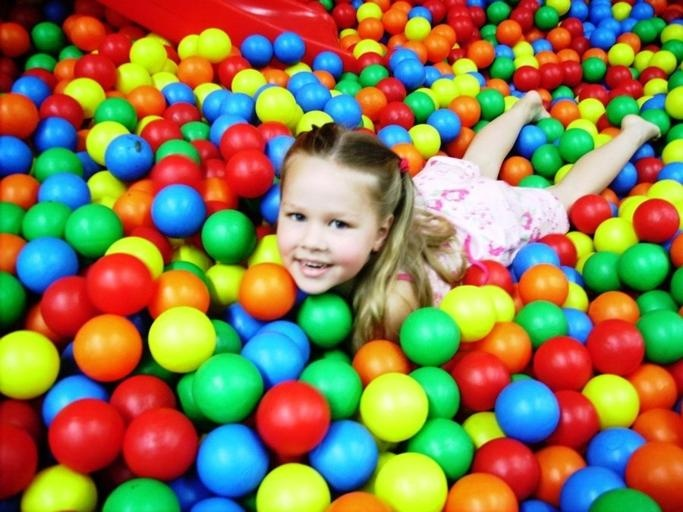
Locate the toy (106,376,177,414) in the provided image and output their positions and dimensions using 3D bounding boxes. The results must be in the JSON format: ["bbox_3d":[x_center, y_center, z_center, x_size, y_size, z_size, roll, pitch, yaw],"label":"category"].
[{"bbox_3d":[-0.620,0.427,2.144,0.148,0.131,0.133,40,102,27],"label":"toy"}]

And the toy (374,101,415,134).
[{"bbox_3d":[0.288,-0.715,3.533,0.137,0.149,0.174,-1,53,-2],"label":"toy"}]

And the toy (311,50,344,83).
[{"bbox_3d":[-0.087,-1.046,3.837,0.138,0.170,0.154,3,74,0],"label":"toy"}]

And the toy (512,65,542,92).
[{"bbox_3d":[1.117,-1.053,4.128,0.158,0.165,0.170,4,95,10],"label":"toy"}]

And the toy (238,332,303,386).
[{"bbox_3d":[-0.221,0.347,2.324,0.161,0.168,0.192,14,29,-39],"label":"toy"}]

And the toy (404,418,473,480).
[{"bbox_3d":[0.321,0.589,2.186,0.162,0.204,0.169,28,44,26],"label":"toy"}]

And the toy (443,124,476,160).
[{"bbox_3d":[0.628,-0.596,3.666,0.142,0.175,0.157,0,87,1],"label":"toy"}]

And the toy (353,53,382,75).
[{"bbox_3d":[0.152,-1.104,3.947,0.119,0.145,0.133,3,94,-5],"label":"toy"}]

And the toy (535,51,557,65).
[{"bbox_3d":[1.302,-1.242,4.421,0.110,0.125,0.136,1,14,-3],"label":"toy"}]

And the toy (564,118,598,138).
[{"bbox_3d":[1.310,-0.712,3.807,0.142,0.151,0.174,2,18,4],"label":"toy"}]

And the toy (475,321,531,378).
[{"bbox_3d":[0.569,0.339,2.493,0.156,0.166,0.195,-4,55,-14],"label":"toy"}]

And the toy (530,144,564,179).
[{"bbox_3d":[1.062,-0.481,3.596,0.149,0.187,0.159,-10,51,11],"label":"toy"}]

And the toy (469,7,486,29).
[{"bbox_3d":[0.933,-1.598,4.668,0.112,0.142,0.126,1,60,18],"label":"toy"}]

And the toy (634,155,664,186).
[{"bbox_3d":[1.540,-0.424,3.477,0.115,0.143,0.130,-8,75,12],"label":"toy"}]

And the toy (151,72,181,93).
[{"bbox_3d":[-0.880,-0.846,3.395,0.108,0.099,0.094,27,42,26],"label":"toy"}]

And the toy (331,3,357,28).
[{"bbox_3d":[0.025,-1.541,4.441,0.146,0.182,0.161,3,61,6],"label":"toy"}]

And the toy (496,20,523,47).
[{"bbox_3d":[1.087,-1.441,4.501,0.144,0.178,0.168,-5,73,8],"label":"toy"}]

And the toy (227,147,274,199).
[{"bbox_3d":[-0.361,-0.314,2.672,0.171,0.176,0.200,2,54,-19],"label":"toy"}]

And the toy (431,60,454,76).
[{"bbox_3d":[0.626,-1.139,4.239,0.113,0.139,0.128,3,98,-3],"label":"toy"}]

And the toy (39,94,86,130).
[{"bbox_3d":[-1.212,-0.633,3.021,0.137,0.172,0.150,5,58,-2],"label":"toy"}]

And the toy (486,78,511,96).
[{"bbox_3d":[0.938,-1.010,4.126,0.109,0.135,0.123,-2,74,3],"label":"toy"}]

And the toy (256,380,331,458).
[{"bbox_3d":[-0.159,0.468,2.127,0.202,0.215,0.251,5,31,-6],"label":"toy"}]

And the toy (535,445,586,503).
[{"bbox_3d":[0.668,0.658,2.127,0.139,0.147,0.182,-1,81,-8],"label":"toy"}]

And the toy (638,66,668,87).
[{"bbox_3d":[1.887,-1.093,4.180,0.126,0.154,0.138,-7,100,6],"label":"toy"}]

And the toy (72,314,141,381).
[{"bbox_3d":[-0.729,0.292,2.206,0.188,0.204,0.233,5,42,-13],"label":"toy"}]

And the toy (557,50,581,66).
[{"bbox_3d":[1.469,-1.290,4.476,0.121,0.135,0.148,1,22,-3],"label":"toy"}]

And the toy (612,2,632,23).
[{"bbox_3d":[1.926,-1.674,4.785,0.125,0.140,0.157,-8,31,6],"label":"toy"}]

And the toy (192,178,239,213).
[{"bbox_3d":[-0.496,-0.246,2.736,0.129,0.135,0.165,-25,82,6],"label":"toy"}]

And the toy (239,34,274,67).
[{"bbox_3d":[-0.458,-1.074,3.683,0.150,0.167,0.181,6,14,-11],"label":"toy"}]

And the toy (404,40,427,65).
[{"bbox_3d":[0.450,-1.221,4.161,0.121,0.158,0.131,1,29,10],"label":"toy"}]

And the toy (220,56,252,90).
[{"bbox_3d":[-0.572,-0.960,3.645,0.150,0.183,0.157,11,63,-7],"label":"toy"}]

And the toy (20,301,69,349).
[{"bbox_3d":[-1.031,0.230,2.334,0.120,0.128,0.162,-4,88,5],"label":"toy"}]

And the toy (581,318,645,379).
[{"bbox_3d":[0.933,0.306,2.442,0.174,0.225,0.185,3,28,6],"label":"toy"}]

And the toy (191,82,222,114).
[{"bbox_3d":[-0.700,-0.779,3.500,0.137,0.149,0.168,-1,40,-24],"label":"toy"}]

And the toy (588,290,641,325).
[{"bbox_3d":[1.032,0.197,2.603,0.127,0.136,0.163,11,68,13],"label":"toy"}]

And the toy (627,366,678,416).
[{"bbox_3d":[1.086,0.454,2.412,0.136,0.140,0.172,0,65,-31],"label":"toy"}]

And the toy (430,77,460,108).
[{"bbox_3d":[0.579,-0.910,3.930,0.142,0.151,0.183,-8,71,-7],"label":"toy"}]

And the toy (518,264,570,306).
[{"bbox_3d":[0.778,0.109,2.628,0.150,0.187,0.165,5,61,21],"label":"toy"}]

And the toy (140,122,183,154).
[{"bbox_3d":[-0.773,-0.510,2.981,0.132,0.163,0.149,8,95,-2],"label":"toy"}]

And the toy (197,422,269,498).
[{"bbox_3d":[-0.353,0.618,2.125,0.193,0.197,0.243,0,55,-14],"label":"toy"}]

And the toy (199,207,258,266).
[{"bbox_3d":[-0.416,-0.071,2.548,0.179,0.229,0.191,-5,33,-2],"label":"toy"}]

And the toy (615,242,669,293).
[{"bbox_3d":[1.201,0.029,2.805,0.176,0.191,0.217,8,32,16],"label":"toy"}]
